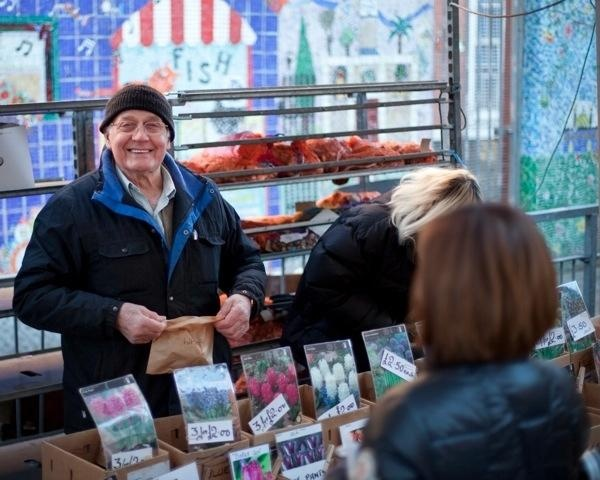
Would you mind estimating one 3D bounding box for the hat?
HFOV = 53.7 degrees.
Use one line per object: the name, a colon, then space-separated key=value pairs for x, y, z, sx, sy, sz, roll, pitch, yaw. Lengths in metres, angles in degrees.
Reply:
hat: x=-0.656 y=-0.558 z=2.432 sx=0.229 sy=0.154 sz=0.229 roll=5 pitch=-10 yaw=-23
